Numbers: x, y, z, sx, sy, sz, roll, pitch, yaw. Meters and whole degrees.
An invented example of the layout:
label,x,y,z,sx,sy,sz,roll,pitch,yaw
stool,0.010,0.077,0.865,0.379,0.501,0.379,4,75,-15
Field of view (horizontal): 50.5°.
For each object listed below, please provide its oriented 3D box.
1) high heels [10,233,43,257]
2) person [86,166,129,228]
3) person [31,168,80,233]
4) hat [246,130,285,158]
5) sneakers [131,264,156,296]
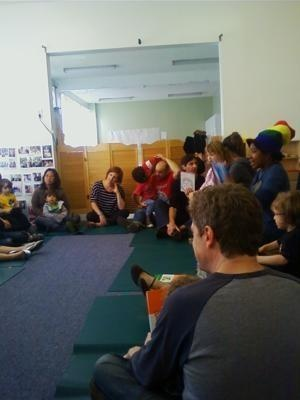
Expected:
label,x,y,z,sx,sy,sz,roll,pitch,yaw
high heels,-1.565,0.569,4.231,0.145,0.178,0.448,10,15,-9
person,-0.787,-0.091,5.858,0.983,1.222,0.938,3,6,-12
person,-1.605,-0.028,5.290,0.653,0.993,1.039,-8,14,-37
hat,0.966,-0.467,2.583,0.279,0.173,0.197,34,28,9
sneakers,-0.043,0.557,2.268,0.100,0.119,0.307,-6,35,-7
